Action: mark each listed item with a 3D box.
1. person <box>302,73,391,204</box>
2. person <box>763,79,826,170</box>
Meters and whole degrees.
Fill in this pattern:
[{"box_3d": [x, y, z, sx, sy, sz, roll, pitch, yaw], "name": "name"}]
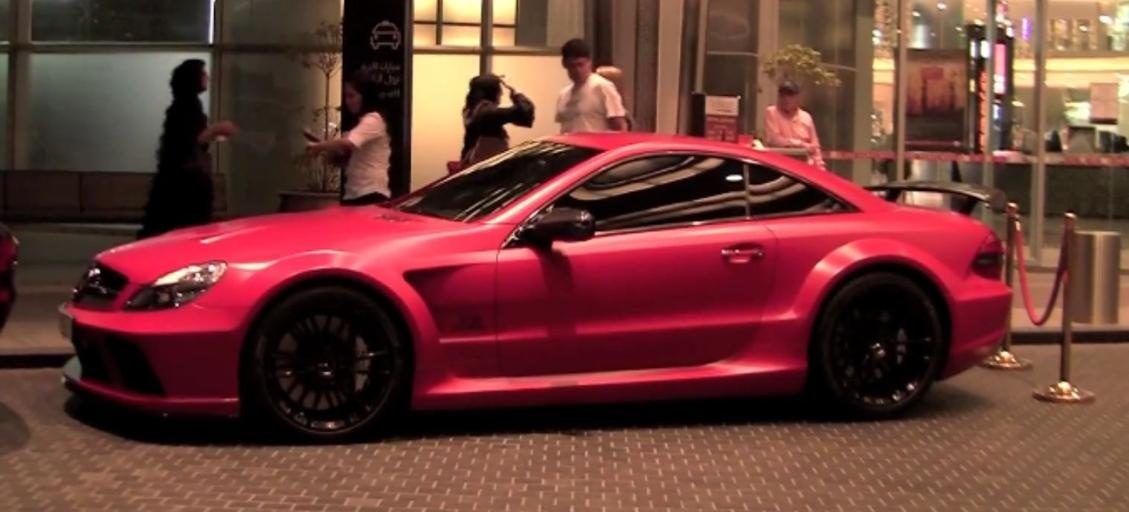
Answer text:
[{"box_3d": [-3.117, -1.204, 11.448, 1.098, 2.785, 1.237, 9, 11, 32], "name": "person"}, {"box_3d": [4.159, -2.376, 14.105, 0.885, 1.925, 1.312, 2, 1, -20], "name": "person"}]
